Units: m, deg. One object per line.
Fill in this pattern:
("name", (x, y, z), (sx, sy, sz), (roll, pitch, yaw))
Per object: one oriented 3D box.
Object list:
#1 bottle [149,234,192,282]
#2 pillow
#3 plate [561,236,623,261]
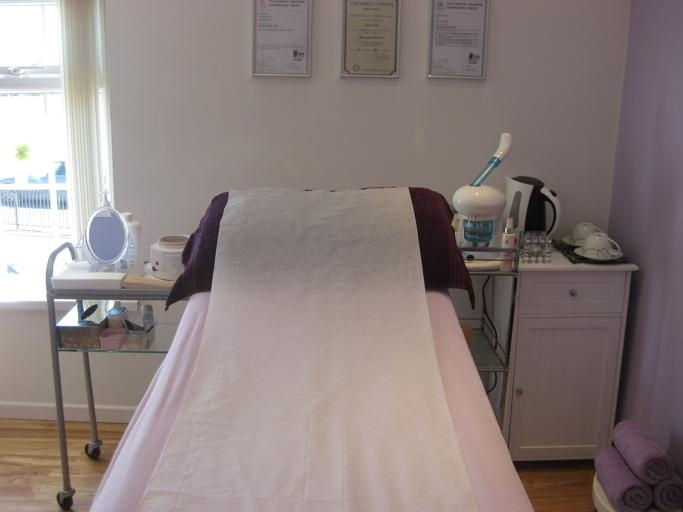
("bottle", (-0.783, 0.008, 2.588), (0.193, 0.178, 0.186), (18, 18, 37))
("pillow", (-0.056, -0.052, 2.308), (0.845, 0.285, 0.644), (1, 22, 2))
("plate", (1.196, -0.037, 2.611), (0.158, 0.060, 0.157), (-3, 17, 8))
